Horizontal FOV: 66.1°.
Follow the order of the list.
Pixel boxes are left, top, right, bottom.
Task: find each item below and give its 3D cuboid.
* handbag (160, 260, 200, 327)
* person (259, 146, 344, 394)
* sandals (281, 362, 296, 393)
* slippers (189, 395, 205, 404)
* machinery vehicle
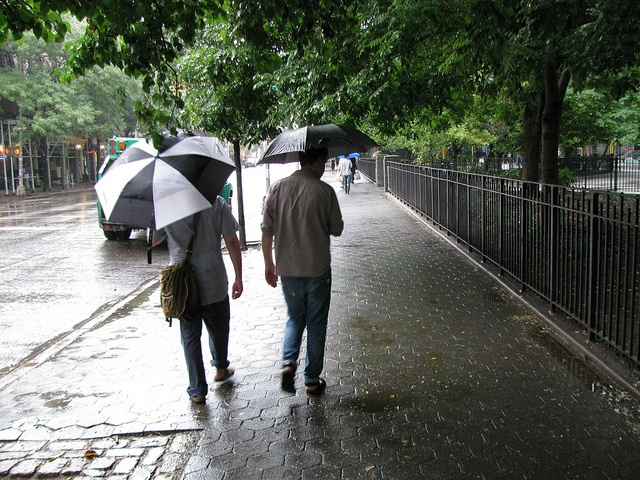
[{"bbox_3d":[-1.335,0.474,4.700,0.316,0.602,0.413,3,-9,-41],"label":"handbag"},{"bbox_3d":[-0.143,0.300,4.845,0.788,2.368,0.684,-5,10,-12],"label":"person"},{"bbox_3d":[-0.290,1.307,4.654,0.103,0.302,0.124,-3,-13,10],"label":"sandals"},{"bbox_3d":[-1.167,1.522,4.734,0.089,0.074,0.089,-1,0,3],"label":"slippers"},{"bbox_3d":[-1.296,-0.572,4.167,1.032,0.272,1.026,-16,-23,-45],"label":"machinery vehicle"}]
